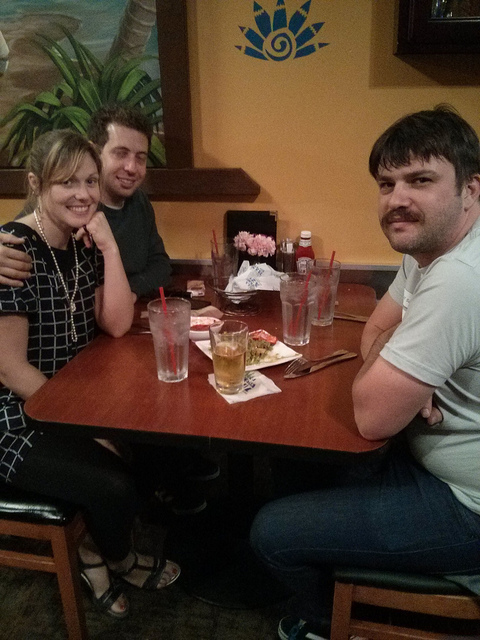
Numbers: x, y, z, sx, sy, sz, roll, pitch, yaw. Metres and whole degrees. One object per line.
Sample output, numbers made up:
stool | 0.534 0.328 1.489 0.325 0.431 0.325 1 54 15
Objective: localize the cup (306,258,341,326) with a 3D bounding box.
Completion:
cup | 0.263 -0.091 1.522 0.111 0.194 0.111 1 14 0

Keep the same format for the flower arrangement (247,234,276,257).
flower arrangement | 0.091 -0.311 1.957 0.090 0.053 0.092 7 11 36

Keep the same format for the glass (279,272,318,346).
glass | 0.175 -0.011 1.367 0.086 0.228 0.094 -10 24 -26

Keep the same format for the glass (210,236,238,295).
glass | -0.050 -0.209 1.829 0.124 0.236 0.139 15 -16 -42

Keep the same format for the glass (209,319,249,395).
glass | -0.024 0.085 1.095 0.098 0.166 0.103 -4 13 -12

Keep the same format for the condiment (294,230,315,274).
condiment | 0.279 -0.265 1.993 0.088 0.248 0.070 -2 30 3
